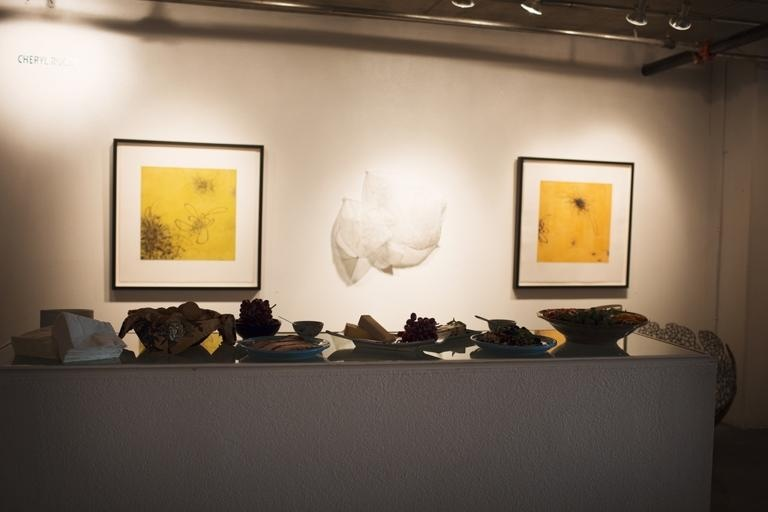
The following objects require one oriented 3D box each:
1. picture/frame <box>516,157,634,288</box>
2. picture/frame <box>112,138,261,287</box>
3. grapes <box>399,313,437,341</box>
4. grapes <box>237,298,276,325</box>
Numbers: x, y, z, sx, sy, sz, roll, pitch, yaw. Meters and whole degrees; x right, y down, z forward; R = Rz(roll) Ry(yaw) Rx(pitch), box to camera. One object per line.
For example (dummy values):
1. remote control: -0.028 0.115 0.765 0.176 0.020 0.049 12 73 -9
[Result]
1. picture/frame: 1.520 -0.283 4.893 1.076 1.020 0.081 1 -1 -14
2. picture/frame: -1.498 -0.332 4.364 1.102 1.052 0.042 1 5 -8
3. grapes: 0.163 0.324 2.853 0.120 0.099 0.162 4 7 -10
4. grapes: -0.624 0.264 2.921 0.149 0.119 0.148 2 3 37
